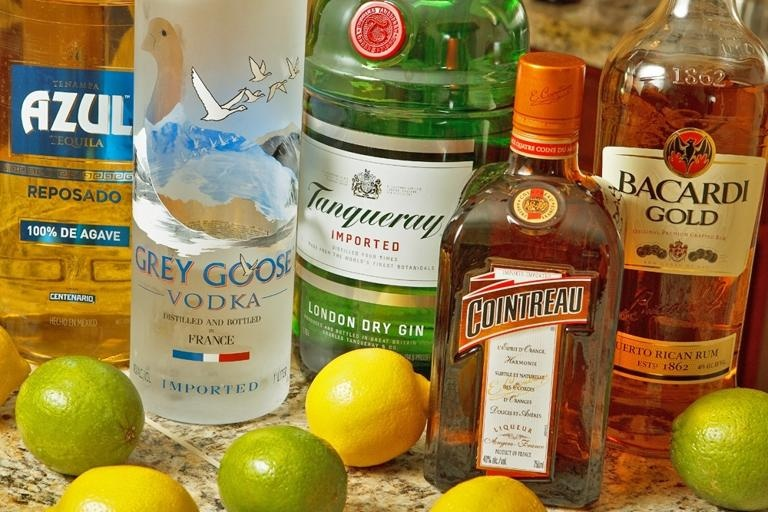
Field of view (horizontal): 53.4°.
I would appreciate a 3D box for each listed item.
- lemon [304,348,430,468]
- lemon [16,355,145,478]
[{"bbox_3d":[-0.004,0.154,0.778,0.129,0.091,0.099,-16,-18,5],"label":"lemon"},{"bbox_3d":[-0.291,0.151,0.755,0.120,0.085,0.096,25,29,30],"label":"lemon"}]
